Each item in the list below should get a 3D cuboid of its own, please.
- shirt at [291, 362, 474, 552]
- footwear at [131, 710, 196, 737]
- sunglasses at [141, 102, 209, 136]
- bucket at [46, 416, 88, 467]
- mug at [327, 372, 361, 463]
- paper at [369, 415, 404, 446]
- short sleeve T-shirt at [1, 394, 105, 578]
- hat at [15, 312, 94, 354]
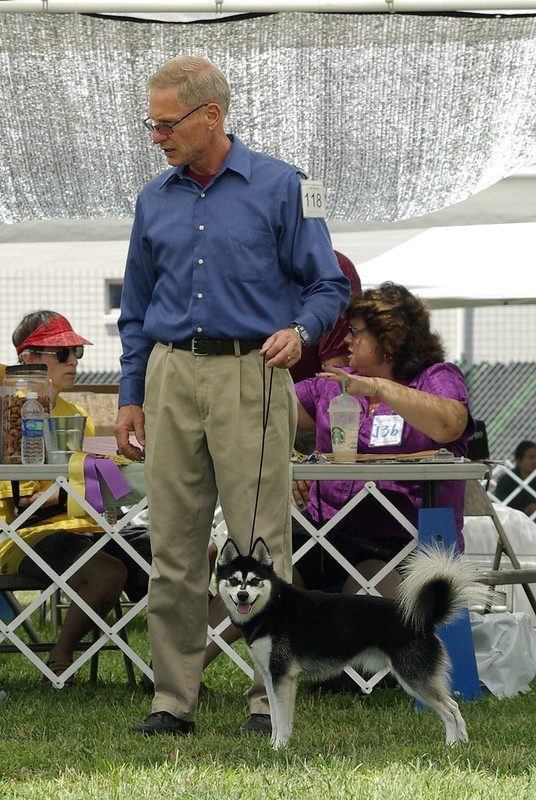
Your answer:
[{"bbox_3d":[0.445,0.234,3.519,0.872,0.600,0.454,-4,-8,43],"label":"shirt"},{"bbox_3d":[-0.317,0.974,2.775,0.208,0.071,0.066,7,-5,-17],"label":"footwear"},{"bbox_3d":[-0.271,-0.828,2.745,0.135,0.037,0.129,-38,34,-19],"label":"sunglasses"},{"bbox_3d":[-0.781,0.157,3.479,0.199,0.180,0.178,-3,-6,-15],"label":"bucket"},{"bbox_3d":[0.296,0.051,3.423,0.146,0.339,0.133,-2,-4,2],"label":"mug"},{"bbox_3d":[0.475,0.126,3.649,0.136,0.122,0.018,-5,-26,38],"label":"paper"},{"bbox_3d":[-0.943,0.346,4.125,0.699,0.756,0.819,0,-1,-11],"label":"short sleeve T-shirt"},{"bbox_3d":[-0.988,-0.279,4.157,0.256,0.111,0.184,-12,-9,29],"label":"hat"}]
